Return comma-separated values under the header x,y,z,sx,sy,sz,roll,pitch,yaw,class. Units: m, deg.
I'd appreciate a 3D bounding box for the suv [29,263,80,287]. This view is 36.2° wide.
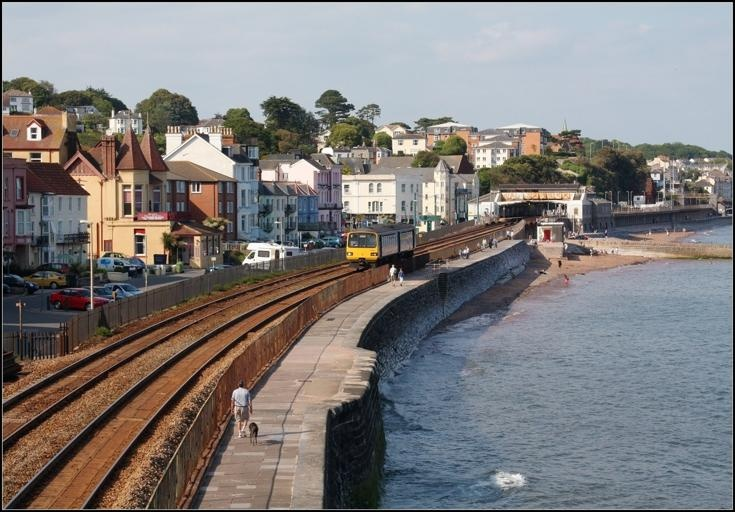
x,y,z,sx,sy,sz,roll,pitch,yaw,class
-25.815,1.651,92.535,4.497,1.404,2.004,2,3,6,suv

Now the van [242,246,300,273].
x,y,z,sx,sy,sz,roll,pitch,yaw,class
-8.707,0.311,101.402,4.324,2.114,2.301,2,2,17,van

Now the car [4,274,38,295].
x,y,z,sx,sy,sz,roll,pitch,yaw,class
-26.956,2.295,88.070,2.309,1.122,1.351,-1,5,-1,car

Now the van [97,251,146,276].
x,y,z,sx,sy,sz,roll,pitch,yaw,class
-22.339,1.157,100.446,5.152,1.647,2.277,0,7,1,van

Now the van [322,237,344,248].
x,y,z,sx,sy,sz,roll,pitch,yaw,class
-3.930,-1.659,139.990,1.526,1.056,2.354,0,-3,4,van
